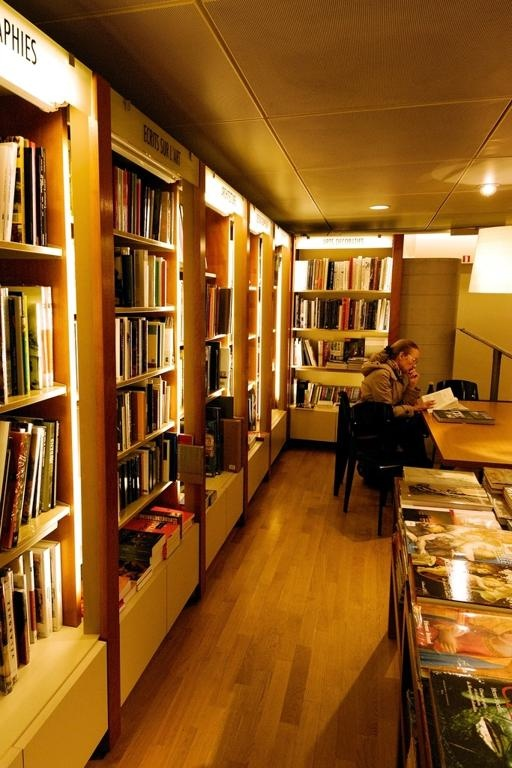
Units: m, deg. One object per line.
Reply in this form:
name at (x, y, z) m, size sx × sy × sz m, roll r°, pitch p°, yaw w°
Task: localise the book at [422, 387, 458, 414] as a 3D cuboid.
book at (1.381, 0.126, 4.000) m, size 0.177 × 0.055 × 0.193 m, roll -17°, pitch 23°, yaw -2°
